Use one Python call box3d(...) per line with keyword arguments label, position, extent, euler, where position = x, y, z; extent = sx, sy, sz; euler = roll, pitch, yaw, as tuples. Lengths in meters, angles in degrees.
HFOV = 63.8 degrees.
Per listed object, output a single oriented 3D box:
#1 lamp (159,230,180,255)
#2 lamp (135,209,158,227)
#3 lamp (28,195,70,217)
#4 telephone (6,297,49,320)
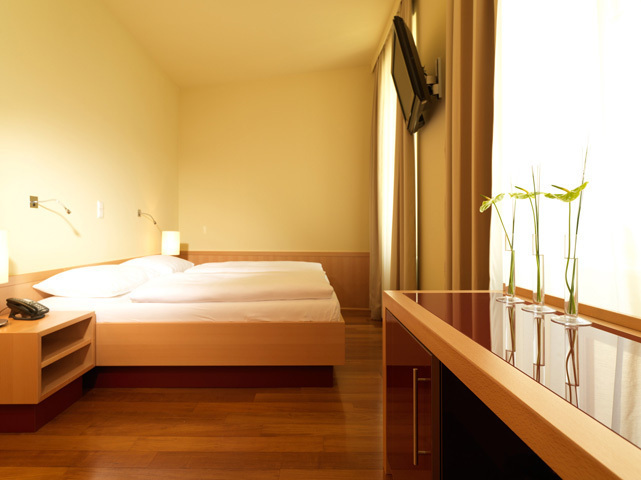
box3d(label="lamp", position=(-1.556, 0.027, 5.388), extent=(0.231, 0.261, 0.227), euler=(-1, -1, 13))
box3d(label="lamp", position=(-1.705, -0.218, 5.041), extent=(0.307, 0.113, 0.175), euler=(4, -2, -1))
box3d(label="lamp", position=(-1.936, -0.243, 3.665), extent=(0.166, 0.069, 0.173), euler=(1, -2, 11))
box3d(label="telephone", position=(-1.868, 0.432, 3.321), extent=(0.225, 0.133, 0.137), euler=(1, 4, -13))
